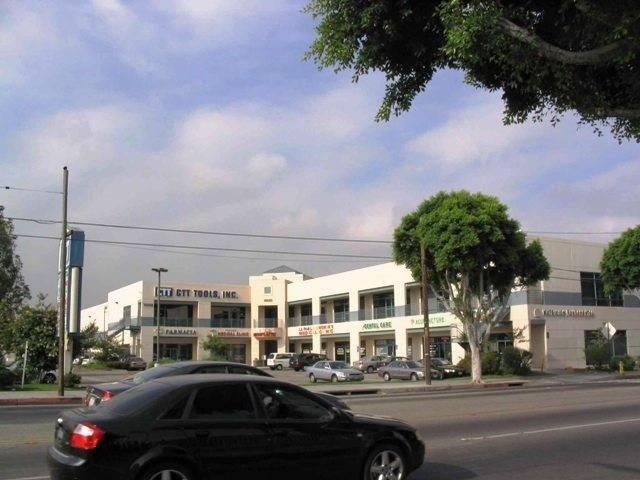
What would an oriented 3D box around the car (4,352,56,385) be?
[{"bbox_3d":[-16.216,7.332,34.724,2.458,1.762,2.453,6,-6,-8],"label":"car"}]
